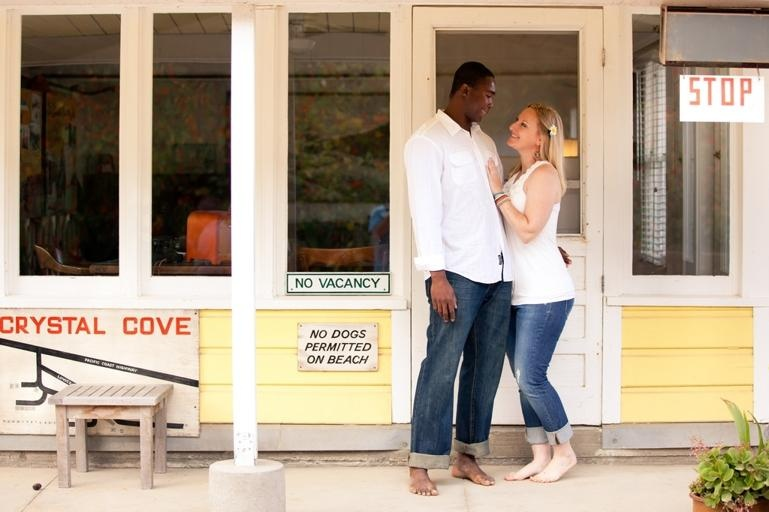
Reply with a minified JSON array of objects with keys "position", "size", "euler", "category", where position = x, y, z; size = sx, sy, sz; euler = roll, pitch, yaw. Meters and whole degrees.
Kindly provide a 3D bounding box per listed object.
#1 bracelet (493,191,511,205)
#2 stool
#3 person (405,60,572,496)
[{"position":[0.758,-0.380,6.819],"size":[0.084,0.083,0.079],"euler":[-19,-17,17],"category":"bracelet"},{"position":[-1.817,1.123,7.055],"size":[0.660,0.651,0.676],"euler":[0,7,3],"category":"stool"},{"position":[0.475,0.144,6.856],"size":[0.707,2.247,0.392],"euler":[-2,-1,-5],"category":"person"}]
